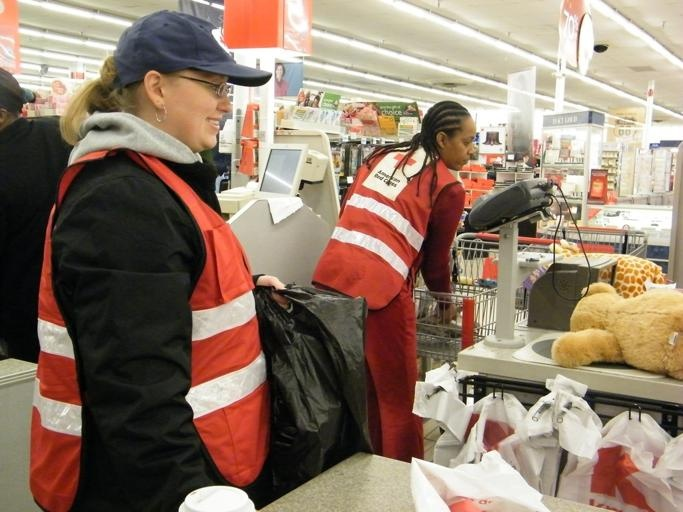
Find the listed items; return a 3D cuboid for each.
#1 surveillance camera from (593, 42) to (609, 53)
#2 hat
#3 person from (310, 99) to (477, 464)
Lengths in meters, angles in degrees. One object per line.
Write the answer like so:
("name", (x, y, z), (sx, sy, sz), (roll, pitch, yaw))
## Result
("surveillance camera", (7.143, -5.727, 15.030), (0.334, 0.244, 0.343), (-1, -2, -10))
("hat", (-0.406, -0.539, 1.530), (0.352, 0.194, 0.228), (-5, 9, -11))
("person", (0.269, 0.112, 2.850), (0.824, 1.877, 0.450), (3, 5, -4))
